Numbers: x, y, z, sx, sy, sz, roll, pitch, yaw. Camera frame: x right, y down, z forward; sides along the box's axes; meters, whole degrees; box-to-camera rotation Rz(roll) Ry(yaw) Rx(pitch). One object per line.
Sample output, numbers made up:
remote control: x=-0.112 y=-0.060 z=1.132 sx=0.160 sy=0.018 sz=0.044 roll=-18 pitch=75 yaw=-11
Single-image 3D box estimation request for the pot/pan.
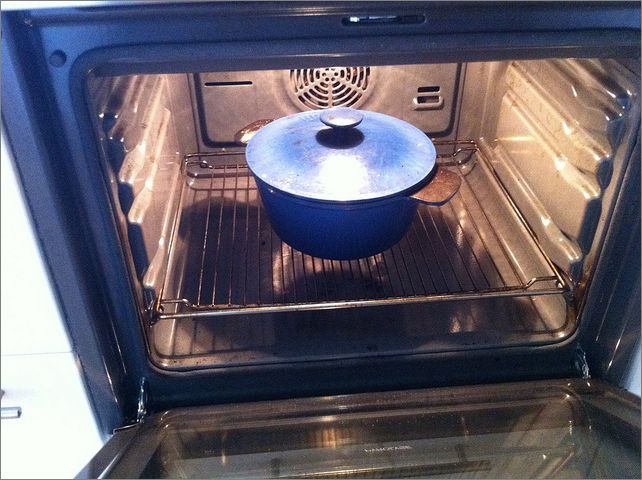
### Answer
pot/pan: x=0.064 y=-0.163 z=1.248 sx=0.432 sy=0.218 sz=0.362 roll=11 pitch=44 yaw=10
